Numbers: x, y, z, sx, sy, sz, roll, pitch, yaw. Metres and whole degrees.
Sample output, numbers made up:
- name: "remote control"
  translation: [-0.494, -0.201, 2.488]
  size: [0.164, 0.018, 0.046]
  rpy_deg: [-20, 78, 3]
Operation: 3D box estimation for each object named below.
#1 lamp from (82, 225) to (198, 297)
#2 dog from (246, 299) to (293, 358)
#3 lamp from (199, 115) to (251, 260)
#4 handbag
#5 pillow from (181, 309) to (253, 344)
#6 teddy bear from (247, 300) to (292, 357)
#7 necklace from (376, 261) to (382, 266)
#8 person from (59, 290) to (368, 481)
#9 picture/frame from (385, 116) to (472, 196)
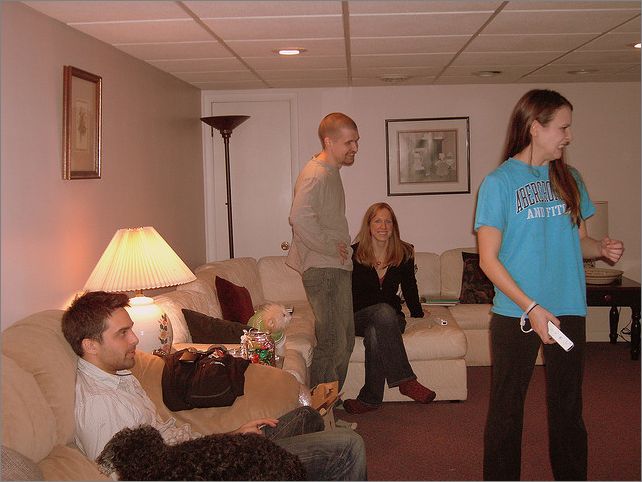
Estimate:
- name: "lamp"
  translation: [-1.117, 0.149, 3.126]
  size: [0.650, 0.443, 0.678]
  rpy_deg: [-6, -2, 2]
- name: "dog"
  translation: [-0.352, 0.615, 3.459]
  size: [0.281, 0.462, 0.325]
  rpy_deg: [-7, 29, -11]
- name: "lamp"
  translation: [-0.937, -0.550, 5.237]
  size: [0.478, 1.507, 0.656]
  rpy_deg: [-4, 6, -11]
- name: "handbag"
  translation: [-0.582, 0.657, 2.470]
  size: [0.292, 0.122, 0.298]
  rpy_deg: [4, 9, -5]
- name: "pillow"
  translation: [-0.682, 0.561, 3.228]
  size: [0.263, 0.083, 0.273]
  rpy_deg: [14, 22, -30]
- name: "teddy bear"
  translation: [-0.337, 0.582, 3.348]
  size: [0.169, 0.208, 0.282]
  rpy_deg: [-30, -1, -8]
- name: "necklace"
  translation: [0.463, 0.183, 4.083]
  size: [0.031, 0.031, 0.009]
  rpy_deg: [-1, -16, 0]
- name: "person"
  translation: [-0.361, 0.622, 2.511]
  size: [1.357, 0.967, 0.671]
  rpy_deg: [-3, 1, -4]
- name: "picture/frame"
  translation: [1.156, -0.937, 5.446]
  size: [0.768, 0.717, 0.061]
  rpy_deg: [-1, 0, -1]
